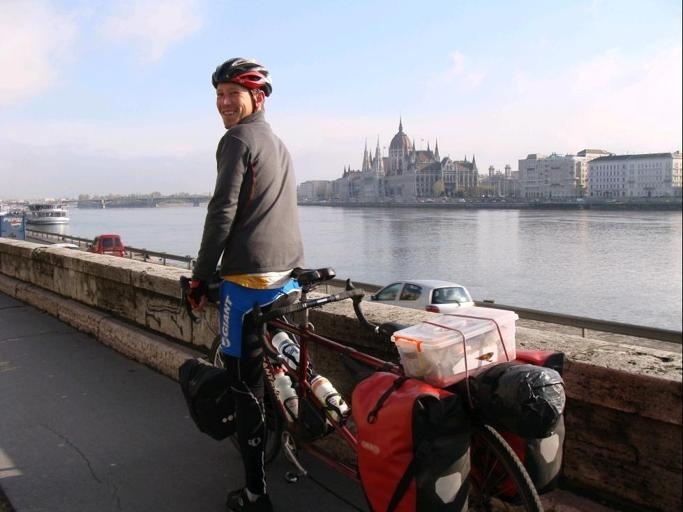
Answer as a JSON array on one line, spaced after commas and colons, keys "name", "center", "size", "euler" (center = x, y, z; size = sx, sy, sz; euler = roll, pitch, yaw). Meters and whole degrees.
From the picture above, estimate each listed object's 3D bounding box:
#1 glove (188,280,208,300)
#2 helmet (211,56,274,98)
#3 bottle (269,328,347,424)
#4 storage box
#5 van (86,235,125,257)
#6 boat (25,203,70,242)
[{"name": "glove", "center": [-0.873, 0.205, 3.368], "size": [0.121, 0.128, 0.089], "euler": [7, 1, 37]}, {"name": "helmet", "center": [-0.618, -1.132, 3.507], "size": [0.311, 0.239, 0.425], "euler": [12, 6, 32]}, {"name": "bottle", "center": [-0.272, 0.668, 3.392], "size": [0.214, 0.222, 0.905], "euler": [-7, 22, -28]}, {"name": "storage box", "center": [0.591, 0.406, 2.803], "size": [0.528, 0.268, 0.376], "euler": [-20, 15, -33]}, {"name": "van", "center": [-14.633, -0.664, 34.454], "size": [1.532, 1.561, 2.702], "euler": [-3, 11, -34]}, {"name": "boat", "center": [-46.093, -5.975, 86.754], "size": [5.133, 5.181, 8.425], "euler": [-8, 12, -40]}]
